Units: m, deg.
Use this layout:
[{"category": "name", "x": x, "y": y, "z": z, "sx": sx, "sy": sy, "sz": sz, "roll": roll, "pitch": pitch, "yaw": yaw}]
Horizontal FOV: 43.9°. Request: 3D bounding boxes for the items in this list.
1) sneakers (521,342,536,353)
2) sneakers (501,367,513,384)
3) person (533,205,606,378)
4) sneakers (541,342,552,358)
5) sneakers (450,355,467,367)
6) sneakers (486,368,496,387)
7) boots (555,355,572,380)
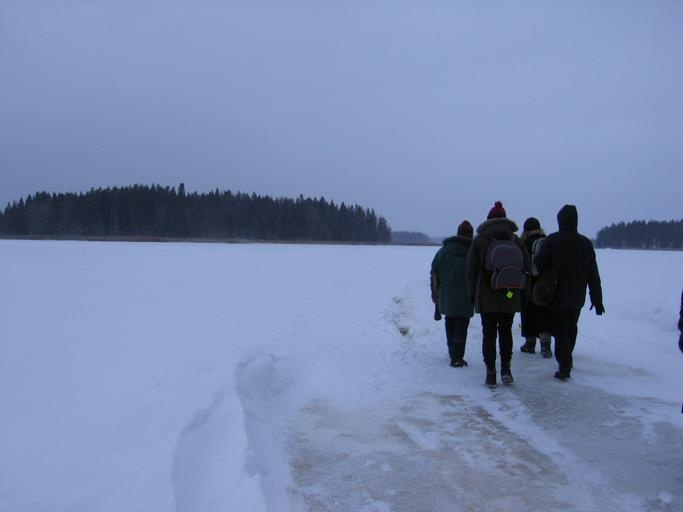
[{"category": "sneakers", "x": 3.197, "y": 1.571, "z": 14.524, "sx": 0.102, "sy": 0.233, "sz": 0.294, "roll": -1, "pitch": 7, "yaw": -7}, {"category": "sneakers", "x": 2.487, "y": 1.755, "z": 12.598, "sx": 0.179, "sy": 0.372, "sz": 0.281, "roll": -1, "pitch": -3, "yaw": 15}, {"category": "person", "x": 3.594, "y": 0.480, "z": 13.427, "sx": 1.005, "sy": 2.751, "sz": 0.929, "roll": -2, "pitch": 10, "yaw": -6}, {"category": "sneakers", "x": 3.422, "y": 1.577, "z": 14.120, "sx": 0.096, "sy": 0.323, "sz": 0.132, "roll": -7, "pitch": 16, "yaw": 15}, {"category": "sneakers", "x": 1.892, "y": 1.684, "z": 13.533, "sx": 0.304, "sy": 0.186, "sz": 0.217, "roll": -1, "pitch": 14, "yaw": -6}, {"category": "sneakers", "x": 2.224, "y": 1.819, "z": 12.558, "sx": 0.126, "sy": 0.283, "sz": 0.276, "roll": 1, "pitch": 1, "yaw": 8}, {"category": "boots", "x": 3.364, "y": 1.735, "z": 12.748, "sx": 0.137, "sy": 0.313, "sz": 0.432, "roll": 2, "pitch": 3, "yaw": 7}]
